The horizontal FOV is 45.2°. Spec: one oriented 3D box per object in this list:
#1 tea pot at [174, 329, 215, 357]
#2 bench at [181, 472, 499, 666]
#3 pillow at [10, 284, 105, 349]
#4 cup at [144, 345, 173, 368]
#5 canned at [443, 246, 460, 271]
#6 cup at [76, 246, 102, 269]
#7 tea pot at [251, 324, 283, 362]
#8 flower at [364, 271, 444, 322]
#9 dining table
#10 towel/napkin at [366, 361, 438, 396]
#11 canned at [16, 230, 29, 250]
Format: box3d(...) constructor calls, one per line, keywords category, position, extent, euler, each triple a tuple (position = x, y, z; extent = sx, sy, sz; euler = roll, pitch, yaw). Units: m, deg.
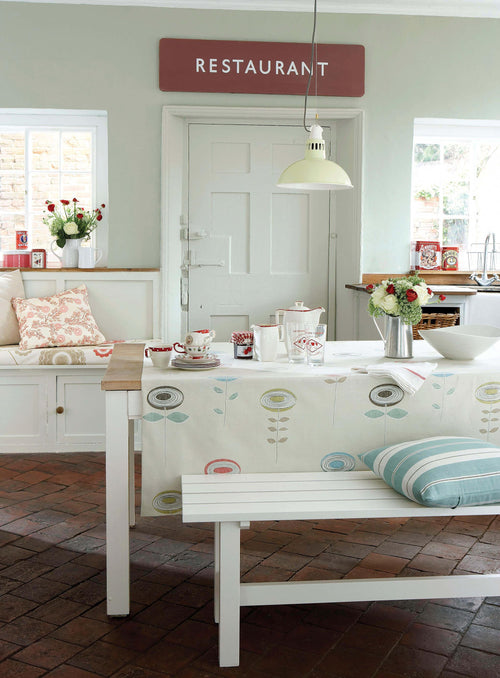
box3d(category="tea pot", position=(-0.194, 0.013, 1.999), extent=(0.137, 0.083, 0.083), euler=(-3, 2, 7))
box3d(category="bench", position=(0.222, 0.634, 1.699), extent=(0.828, 0.444, 0.399), euler=(0, 3, -7))
box3d(category="pillow", position=(-1.245, -0.107, 3.935), extent=(0.554, 0.306, 0.387), euler=(0, 4, -19))
box3d(category="cup", position=(-0.297, 0.057, 1.966), extent=(0.086, 0.053, 0.066), euler=(-3, 7, -5))
box3d(category="canned", position=(1.603, -0.646, 4.848), extent=(0.127, 0.206, 0.199), euler=(2, 4, 18))
box3d(category="cup", position=(-1.182, -0.597, 4.483), extent=(0.100, 0.166, 0.259), euler=(2, 3, 9))
box3d(category="tea pot", position=(0.085, 0.020, 2.076), extent=(0.138, 0.126, 0.099), euler=(4, 7, 9))
box3d(category="flower", position=(0.535, -0.139, 2.195), extent=(0.238, 0.178, 0.174), euler=(3, 4, 36))
box3d(category="dining table", position=(0.004, 0.405, 2.195), extent=(0.917, 0.728, 0.848), euler=(-1, 5, -4))
box3d(category="towel/napkin", position=(0.465, 0.107, 1.884), extent=(0.138, 0.037, 0.136), euler=(5, 11, 32))
box3d(category="canned", position=(-1.694, -0.738, 4.497), extent=(0.078, 0.141, 0.068), euler=(-1, 4, -29))
